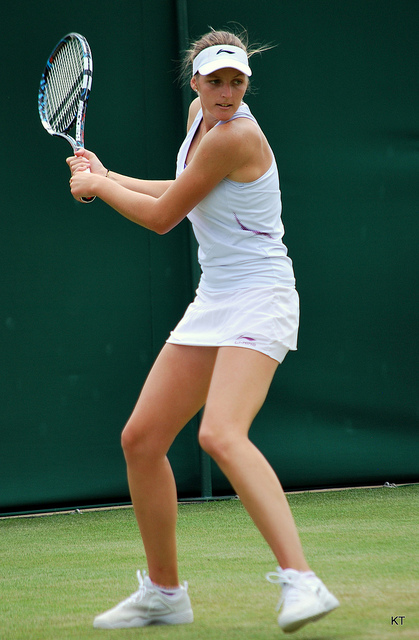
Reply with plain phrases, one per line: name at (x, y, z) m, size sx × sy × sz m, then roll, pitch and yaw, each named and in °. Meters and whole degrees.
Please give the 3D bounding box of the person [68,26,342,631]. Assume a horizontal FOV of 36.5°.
person at (-0.036, 0.057, 1.389) m, size 0.541 × 1.299 × 0.573 m, roll -3°, pitch 8°, yaw 7°

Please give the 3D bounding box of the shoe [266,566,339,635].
shoe at (0.171, 0.541, 1.259) m, size 0.070 × 0.123 × 0.175 m, roll -43°, pitch -13°, yaw 15°
